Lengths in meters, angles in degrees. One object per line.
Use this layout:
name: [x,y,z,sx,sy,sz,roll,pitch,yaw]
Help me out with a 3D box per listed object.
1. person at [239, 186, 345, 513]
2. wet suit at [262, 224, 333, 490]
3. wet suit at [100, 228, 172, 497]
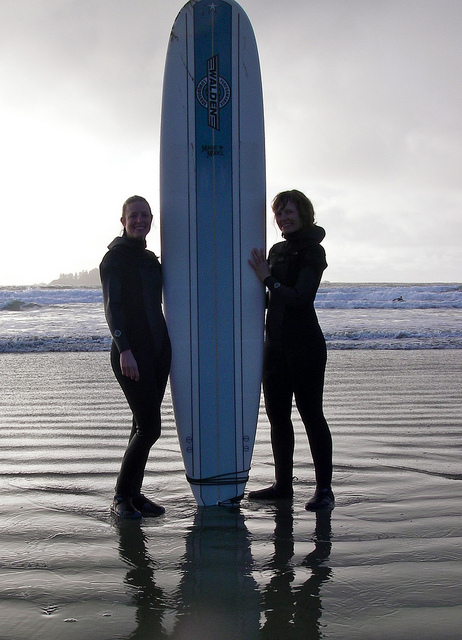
person: [0.297,0.112,4.490,0.485,1.473,0.995,1,8,4]
wet suit: [0.320,0.194,4.420,0.288,1.294,0.560,-6,10,-34]
wet suit: [-0.454,0.209,4.290,0.306,1.256,0.496,1,8,4]
